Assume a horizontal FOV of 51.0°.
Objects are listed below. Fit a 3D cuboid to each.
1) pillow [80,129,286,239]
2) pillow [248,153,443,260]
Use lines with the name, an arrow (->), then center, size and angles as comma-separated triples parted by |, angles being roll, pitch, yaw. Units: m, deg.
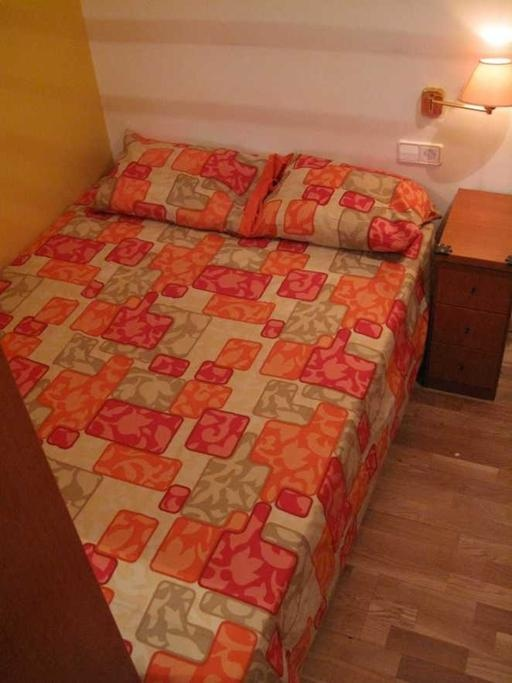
pillow -> -0.269, -0.654, 2.250 | 0.780, 0.156, 0.452 | 11, 60, 14
pillow -> 0.334, -0.560, 2.194 | 0.732, 0.186, 0.517 | 10, 42, 20
